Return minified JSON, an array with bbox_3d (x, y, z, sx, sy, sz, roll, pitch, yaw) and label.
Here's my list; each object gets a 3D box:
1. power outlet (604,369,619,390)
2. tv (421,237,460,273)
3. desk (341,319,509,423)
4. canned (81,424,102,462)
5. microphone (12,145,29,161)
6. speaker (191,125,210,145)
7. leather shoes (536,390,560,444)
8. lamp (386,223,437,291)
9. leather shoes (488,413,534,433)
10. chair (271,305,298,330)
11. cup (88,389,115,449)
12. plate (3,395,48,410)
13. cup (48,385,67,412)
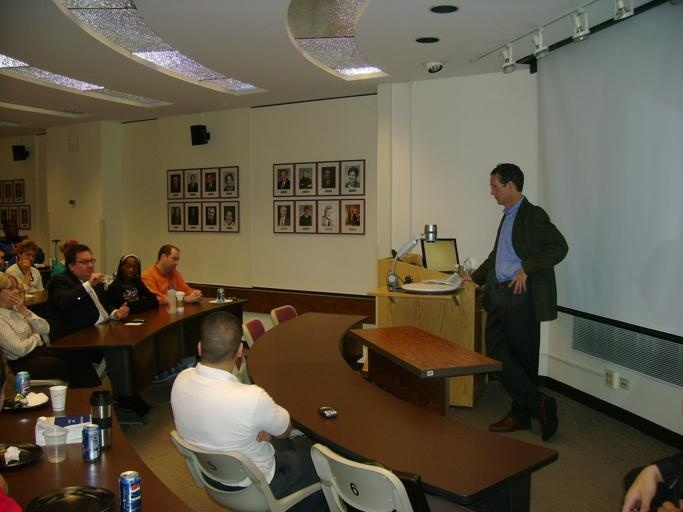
[{"bbox_3d":[2.422,1.105,4.603,0.062,0.206,0.198,0,-2,-10],"label":"power outlet"},{"bbox_3d":[1.066,0.001,5.498,0.046,0.390,0.510,-14,7,-35],"label":"tv"},{"bbox_3d":[0.508,0.878,3.822,0.507,0.530,1.033,-2,11,-27],"label":"desk"},{"bbox_3d":[-1.253,0.933,2.583,0.089,0.171,0.094,2,4,14],"label":"canned"},{"bbox_3d":[-6.012,-1.924,9.670,0.237,0.308,0.303,-1,0,-25],"label":"microphone"},{"bbox_3d":[-2.170,-1.862,7.890,0.249,0.267,0.144,2,4,20],"label":"speaker"},{"bbox_3d":[1.671,1.311,4.179,0.164,0.430,0.149,-1,14,26],"label":"leather shoes"},{"bbox_3d":[0.595,-0.046,4.397,0.347,0.525,0.706,6,14,6],"label":"lamp"},{"bbox_3d":[1.446,1.425,4.424,0.380,0.166,0.160,1,-3,-13],"label":"leather shoes"},{"bbox_3d":[-0.586,0.601,5.005,0.187,0.275,0.205,-4,0,-40],"label":"chair"},{"bbox_3d":[-1.255,0.870,2.681,0.166,0.278,0.172,-6,-9,-1],"label":"cup"},{"bbox_3d":[-1.897,0.883,3.080,0.148,0.017,0.157,5,5,20],"label":"plate"},{"bbox_3d":[-1.698,0.853,3.117,0.132,0.156,0.134,-1,-3,0],"label":"cup"}]
